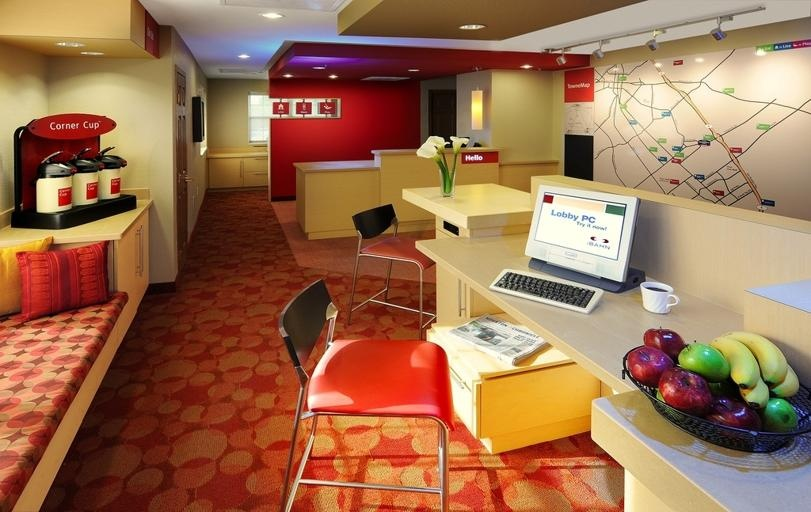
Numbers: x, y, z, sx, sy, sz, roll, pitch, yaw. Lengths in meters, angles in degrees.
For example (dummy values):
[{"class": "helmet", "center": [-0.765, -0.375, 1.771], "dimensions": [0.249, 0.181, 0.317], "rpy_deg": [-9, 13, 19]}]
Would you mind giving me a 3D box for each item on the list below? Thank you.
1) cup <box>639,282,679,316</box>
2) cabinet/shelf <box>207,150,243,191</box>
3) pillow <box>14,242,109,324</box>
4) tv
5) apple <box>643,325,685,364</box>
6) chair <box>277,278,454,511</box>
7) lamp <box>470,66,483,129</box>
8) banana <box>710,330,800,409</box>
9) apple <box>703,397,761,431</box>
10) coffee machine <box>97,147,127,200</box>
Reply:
[{"class": "cup", "center": [1.217, 0.203, 2.359], "dimensions": [0.139, 0.106, 0.170], "rpy_deg": [-11, 20, -37]}, {"class": "cabinet/shelf", "center": [-4.343, -2.027, 11.839], "dimensions": [1.144, 1.047, 0.721], "rpy_deg": [-4, 11, -23]}, {"class": "pillow", "center": [-2.378, 0.205, 3.325], "dimensions": [0.527, 0.438, 0.177], "rpy_deg": [-5, -12, -44]}, {"class": "tv", "center": [0.989, -0.071, 2.634], "dimensions": [0.278, 0.444, 0.533], "rpy_deg": [-14, 17, -42]}, {"class": "apple", "center": [0.965, 0.346, 1.795], "dimensions": [0.145, 0.148, 0.145], "rpy_deg": [13, -20, -12]}, {"class": "chair", "center": [-0.233, 0.860, 2.856], "dimensions": [1.044, 1.298, 0.888], "rpy_deg": [1, 18, 6]}, {"class": "lamp", "center": [1.303, -2.605, 8.659], "dimensions": [0.235, 0.732, 0.319], "rpy_deg": [1, 19, 7]}, {"class": "banana", "center": [1.185, 0.338, 1.630], "dimensions": [0.160, 0.088, 0.287], "rpy_deg": [-25, 19, 19]}, {"class": "apple", "center": [1.039, 0.505, 1.541], "dimensions": [0.107, 0.109, 0.105], "rpy_deg": [-1, 7, 7]}, {"class": "coffee machine", "center": [-2.743, -0.773, 4.522], "dimensions": [0.242, 0.434, 0.397], "rpy_deg": [-10, 21, -23]}]
